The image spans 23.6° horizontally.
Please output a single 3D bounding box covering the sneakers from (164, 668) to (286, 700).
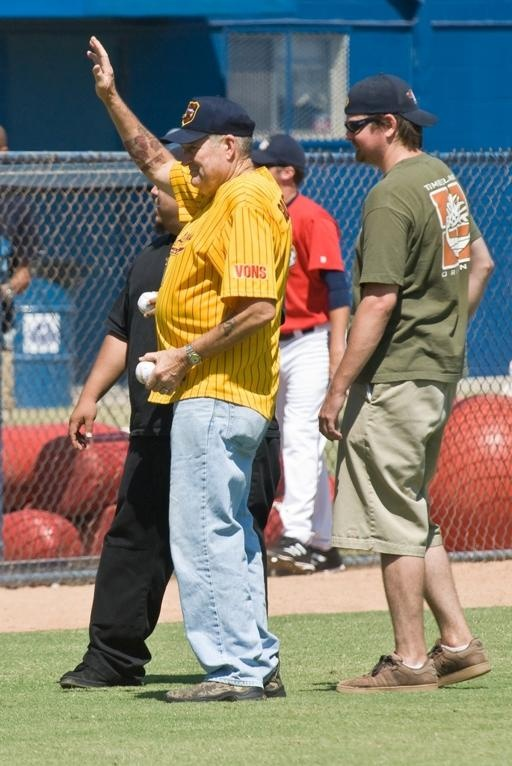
[{"bbox_3d":[-0.090,0.824,3.459,0.330,0.131,0.120,1,-10,-1],"label":"sneakers"}]

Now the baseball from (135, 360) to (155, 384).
[{"bbox_3d":[-0.307,-0.033,3.390,0.058,0.069,0.059,3,0,18],"label":"baseball"}]

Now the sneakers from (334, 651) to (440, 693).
[{"bbox_3d":[0.397,0.837,3.599,0.329,0.129,0.109,1,-8,4],"label":"sneakers"}]

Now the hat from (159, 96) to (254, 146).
[{"bbox_3d":[-0.128,-0.751,3.499,0.220,0.120,0.138,0,17,-14],"label":"hat"}]

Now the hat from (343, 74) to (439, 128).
[{"bbox_3d":[0.420,-0.874,3.751,0.245,0.142,0.158,-1,21,-5],"label":"hat"}]

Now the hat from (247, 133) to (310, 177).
[{"bbox_3d":[0.114,-1.146,6.128,0.331,0.199,0.244,4,10,-3],"label":"hat"}]

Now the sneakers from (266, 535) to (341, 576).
[{"bbox_3d":[0.271,0.857,6.015,0.431,0.194,0.145,17,-21,-37],"label":"sneakers"}]

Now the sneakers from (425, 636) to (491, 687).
[{"bbox_3d":[0.605,0.824,3.671,0.088,0.112,0.242,-21,-1,-33],"label":"sneakers"}]

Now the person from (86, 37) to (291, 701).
[{"bbox_3d":[-0.099,0.040,3.635,0.427,1.728,0.765,-2,-1,1],"label":"person"}]

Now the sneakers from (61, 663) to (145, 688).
[{"bbox_3d":[-0.472,0.892,3.772,0.252,0.099,0.084,6,-8,-18],"label":"sneakers"}]

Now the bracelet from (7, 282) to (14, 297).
[{"bbox_3d":[-1.151,-0.431,5.700,0.018,0.057,0.055,-10,-28,-3],"label":"bracelet"}]

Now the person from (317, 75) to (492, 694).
[{"bbox_3d":[0.427,-0.029,3.684,0.310,1.838,0.488,-3,-2,42],"label":"person"}]
